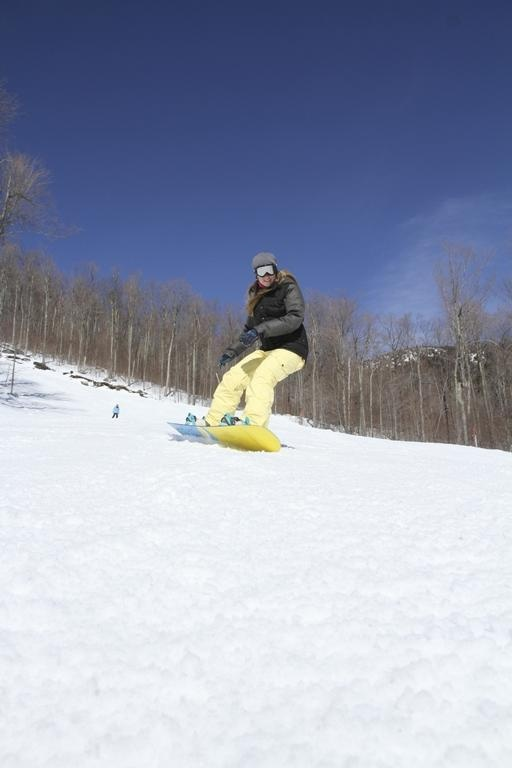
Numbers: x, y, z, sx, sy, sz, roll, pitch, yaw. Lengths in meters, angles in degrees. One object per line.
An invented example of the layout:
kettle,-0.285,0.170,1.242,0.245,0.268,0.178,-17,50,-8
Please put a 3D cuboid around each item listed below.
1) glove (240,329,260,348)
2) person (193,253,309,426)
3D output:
glove,-0.036,-0.368,4.479,0.112,0.153,0.283,4,12,3
person,0.008,-0.302,4.857,0.880,1.634,1.390,4,11,5
